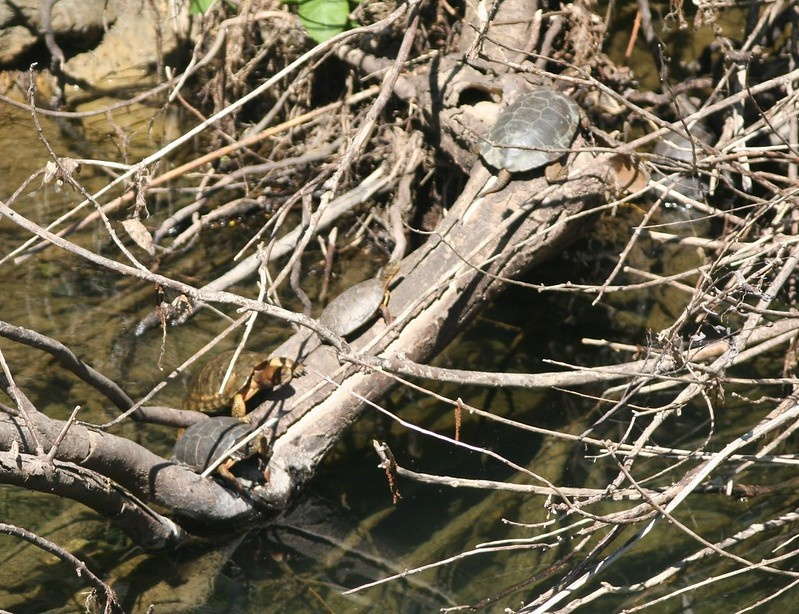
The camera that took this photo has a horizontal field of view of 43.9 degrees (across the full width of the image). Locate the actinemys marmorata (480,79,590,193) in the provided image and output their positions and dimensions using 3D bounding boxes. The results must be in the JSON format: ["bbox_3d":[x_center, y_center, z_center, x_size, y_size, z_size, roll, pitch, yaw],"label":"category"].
[{"bbox_3d":[1.028,-1.343,7.659,0.683,0.255,0.907,13,55,29],"label":"actinemys marmorata"}]
